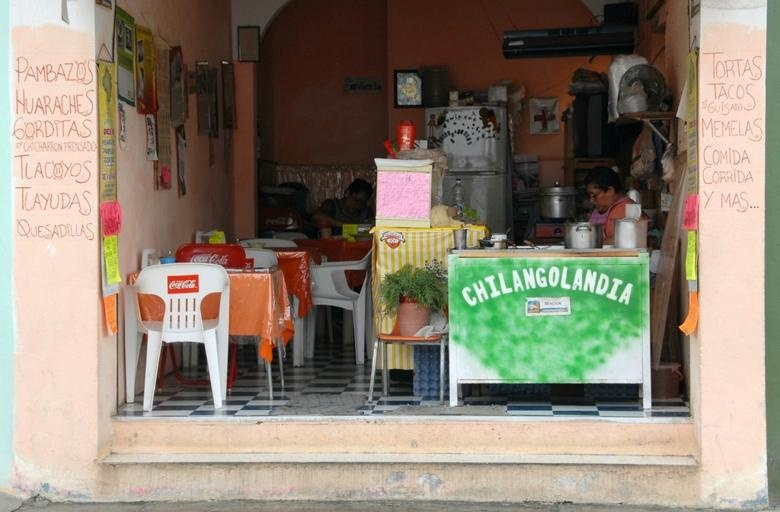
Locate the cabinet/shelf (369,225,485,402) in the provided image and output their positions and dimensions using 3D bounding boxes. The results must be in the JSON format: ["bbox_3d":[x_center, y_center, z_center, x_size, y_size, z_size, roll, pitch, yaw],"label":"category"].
[{"bbox_3d":[0.144,0.320,8.171,1.062,1.464,1.237,0,-2,-2],"label":"cabinet/shelf"}]

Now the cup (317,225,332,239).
[{"bbox_3d":[-0.796,-0.295,10.733,0.137,0.216,0.211,1,-10,-12],"label":"cup"}]

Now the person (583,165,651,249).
[{"bbox_3d":[2.107,-0.503,8.058,0.614,1.056,1.104,1,5,14],"label":"person"}]

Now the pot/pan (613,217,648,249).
[{"bbox_3d":[1.955,-0.178,6.952,0.216,0.197,0.262,0,-3,5],"label":"pot/pan"}]

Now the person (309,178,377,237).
[{"bbox_3d":[-0.611,-0.620,11.119,0.805,0.697,1.088,-3,8,-3],"label":"person"}]

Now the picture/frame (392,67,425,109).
[{"bbox_3d":[0.257,-2.216,11.495,0.565,0.655,0.086,0,-4,1],"label":"picture/frame"}]

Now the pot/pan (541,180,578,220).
[{"bbox_3d":[2.077,-0.665,10.800,0.542,0.537,0.546,0,0,-1],"label":"pot/pan"}]

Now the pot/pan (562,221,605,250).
[{"bbox_3d":[1.592,-0.176,7.080,0.229,0.150,0.248,-1,5,3],"label":"pot/pan"}]

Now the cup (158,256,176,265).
[{"bbox_3d":[-1.958,0.039,7.564,0.113,0.051,0.113,-1,-6,0],"label":"cup"}]

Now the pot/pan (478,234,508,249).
[{"bbox_3d":[0.895,-0.115,7.380,0.174,0.086,0.134,-1,3,12],"label":"pot/pan"}]
